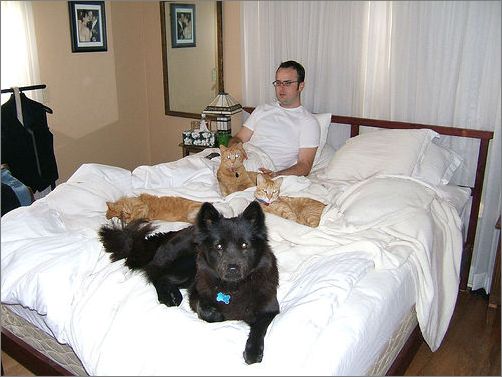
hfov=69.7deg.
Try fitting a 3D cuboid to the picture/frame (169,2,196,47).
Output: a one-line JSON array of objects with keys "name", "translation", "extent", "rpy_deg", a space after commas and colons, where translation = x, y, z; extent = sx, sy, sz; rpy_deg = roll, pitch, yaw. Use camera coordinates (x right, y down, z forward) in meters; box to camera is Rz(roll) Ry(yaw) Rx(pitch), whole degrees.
[{"name": "picture/frame", "translation": [-0.810, -1.991, 4.327], "extent": [0.422, 0.640, 0.063], "rpy_deg": [10, 20, 25]}]

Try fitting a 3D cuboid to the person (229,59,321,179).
[{"name": "person", "translation": [0.195, -0.646, 3.496], "extent": [0.937, 1.187, 0.833], "rpy_deg": [17, 18, 35]}]

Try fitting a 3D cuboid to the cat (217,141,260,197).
[{"name": "cat", "translation": [-0.113, -0.171, 2.957], "extent": [0.297, 0.482, 0.398], "rpy_deg": [11, 30, 24]}]

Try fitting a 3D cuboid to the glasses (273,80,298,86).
[{"name": "glasses", "translation": [0.334, -0.995, 3.406], "extent": [0.203, 0.065, 0.068], "rpy_deg": [4, 23, 9]}]

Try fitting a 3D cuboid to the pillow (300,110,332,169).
[{"name": "pillow", "translation": [0.674, -0.512, 3.525], "extent": [0.106, 0.420, 0.420], "rpy_deg": [8, 32, 6]}]

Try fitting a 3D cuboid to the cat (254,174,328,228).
[{"name": "cat", "translation": [0.249, 0.108, 2.493], "extent": [0.415, 0.224, 0.332], "rpy_deg": [8, 24, 19]}]

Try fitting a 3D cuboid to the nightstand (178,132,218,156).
[{"name": "nightstand", "translation": [-0.614, -0.565, 4.049], "extent": [0.389, 0.304, 0.257], "rpy_deg": [9, 22, 22]}]

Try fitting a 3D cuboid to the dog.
[{"name": "dog", "translation": [-0.226, 0.357, 1.636], "extent": [0.715, 0.462, 0.620], "rpy_deg": [5, 18, -7]}]

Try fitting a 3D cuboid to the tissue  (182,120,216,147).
[{"name": "tissue ", "translation": [-0.581, -0.584, 4.084], "extent": [0.389, 0.293, 0.287], "rpy_deg": [6, 16, 14]}]
